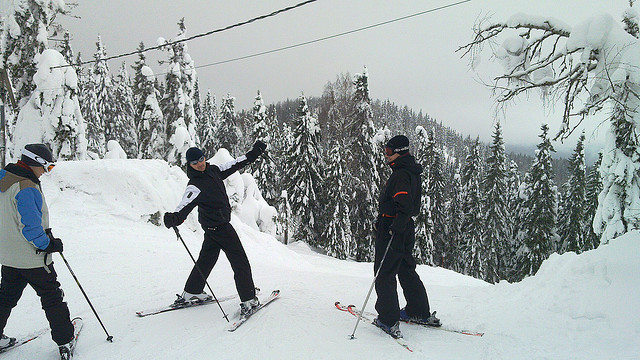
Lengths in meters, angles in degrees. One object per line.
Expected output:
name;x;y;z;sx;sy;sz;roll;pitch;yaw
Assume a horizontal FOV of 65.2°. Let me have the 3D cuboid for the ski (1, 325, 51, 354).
ski;-10.202;5.600;17.382;1.989;0.264;0.101;-26;18;-11
